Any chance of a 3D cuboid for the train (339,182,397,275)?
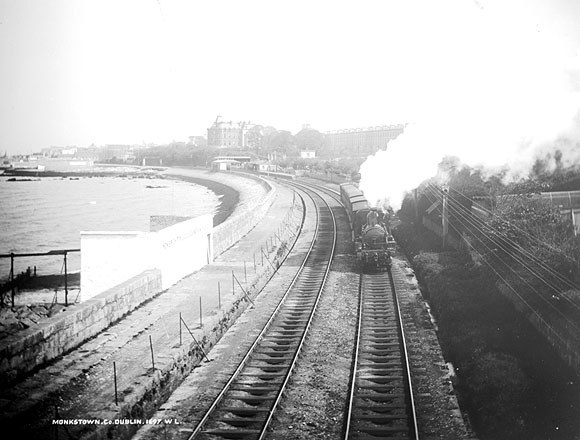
[{"bbox_3d":[4.985,-0.277,29.690,1.629,3.213,12.611,0,16,2],"label":"train"}]
